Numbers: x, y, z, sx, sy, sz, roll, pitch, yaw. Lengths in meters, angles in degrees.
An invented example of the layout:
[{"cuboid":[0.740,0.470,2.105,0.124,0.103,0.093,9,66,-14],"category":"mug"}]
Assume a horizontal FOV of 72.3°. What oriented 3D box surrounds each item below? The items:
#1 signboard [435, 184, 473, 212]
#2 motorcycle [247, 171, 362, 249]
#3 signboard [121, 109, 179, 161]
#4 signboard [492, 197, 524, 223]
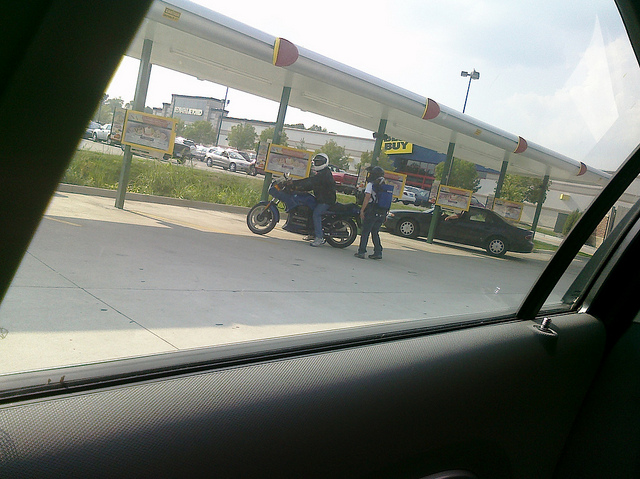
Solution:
[{"cuboid":[0.582,-0.187,1.920,0.232,0.077,0.047,3,12,-42],"category":"signboard"},{"cuboid":[-0.069,-0.101,2.355,0.651,0.394,0.283,11,20,-19],"category":"motorcycle"},{"cuboid":[-0.459,-0.287,1.178,0.131,0.112,0.045,6,40,-28],"category":"signboard"},{"cuboid":[0.875,-0.138,2.034,0.187,0.085,0.059,6,10,-30],"category":"signboard"}]
